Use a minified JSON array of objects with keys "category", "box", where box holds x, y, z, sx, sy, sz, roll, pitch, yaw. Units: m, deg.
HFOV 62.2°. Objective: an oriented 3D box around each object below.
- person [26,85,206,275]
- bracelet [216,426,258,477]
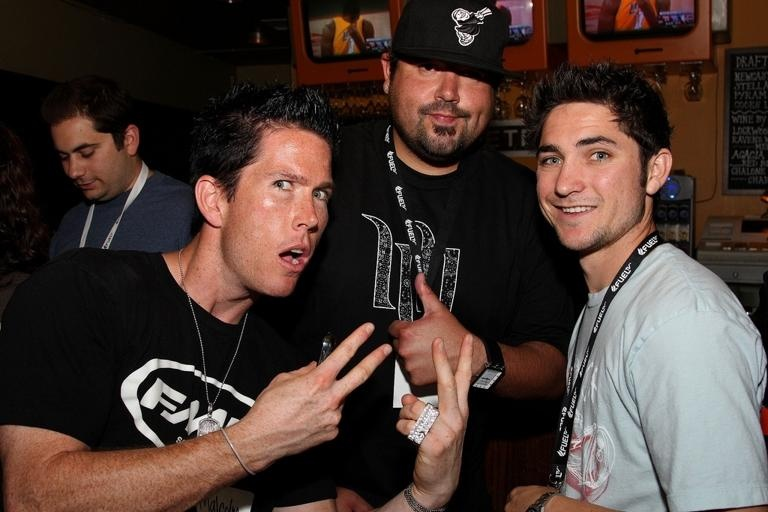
[{"category":"person","box":[-1.684,-0.480,4.016,1.135,1.191,0.634,1,18,23]},{"category":"bracelet","box":[-0.478,0.640,2.089,0.032,0.136,0.128,-36,14,-12]}]
